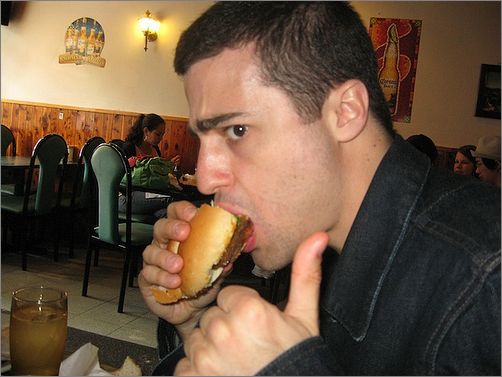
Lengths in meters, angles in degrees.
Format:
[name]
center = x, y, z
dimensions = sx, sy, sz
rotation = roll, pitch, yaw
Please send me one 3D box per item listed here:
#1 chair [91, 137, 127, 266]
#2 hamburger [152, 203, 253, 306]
[chair]
center = -1.333, 0.075, 3.379
dimensions = 0.228, 0.692, 0.473
rotation = 4, 4, -42
[hamburger]
center = -0.175, 0.232, 1.235
dimensions = 0.108, 0.360, 0.270
rotation = 14, 38, -44
